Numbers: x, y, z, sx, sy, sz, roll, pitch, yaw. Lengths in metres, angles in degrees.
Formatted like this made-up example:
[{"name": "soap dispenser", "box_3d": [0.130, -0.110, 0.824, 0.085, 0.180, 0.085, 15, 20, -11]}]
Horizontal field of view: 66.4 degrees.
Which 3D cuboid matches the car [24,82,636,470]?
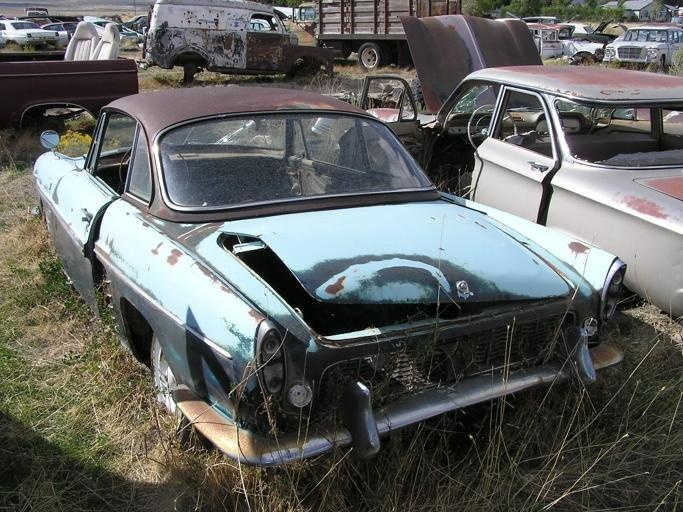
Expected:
[{"name": "car", "box_3d": [-0.457, -0.159, 3.103, 1.842, 0.977, 3.023, -14, 34, -34]}]
